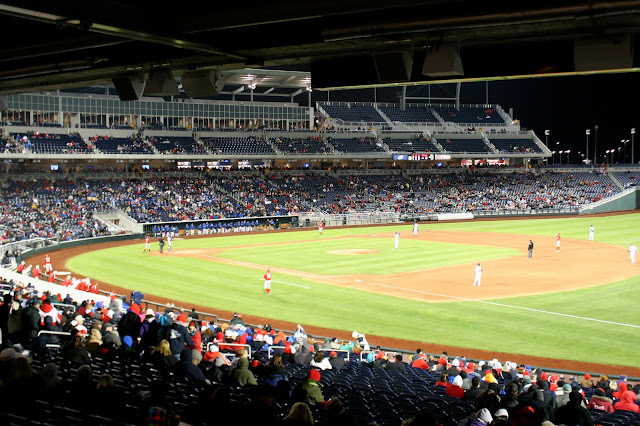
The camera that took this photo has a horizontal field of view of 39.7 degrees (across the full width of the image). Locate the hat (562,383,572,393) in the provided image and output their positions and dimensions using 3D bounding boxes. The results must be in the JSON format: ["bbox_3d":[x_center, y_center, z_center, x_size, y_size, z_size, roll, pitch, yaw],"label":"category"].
[{"bbox_3d":[7.755,5.469,27.648,0.249,0.253,0.268,5,30,11],"label":"hat"}]
